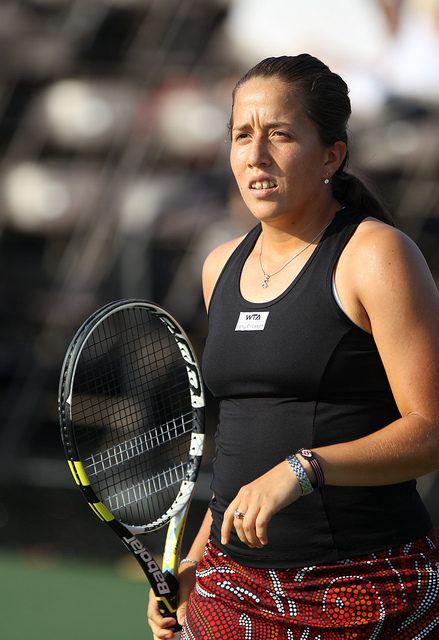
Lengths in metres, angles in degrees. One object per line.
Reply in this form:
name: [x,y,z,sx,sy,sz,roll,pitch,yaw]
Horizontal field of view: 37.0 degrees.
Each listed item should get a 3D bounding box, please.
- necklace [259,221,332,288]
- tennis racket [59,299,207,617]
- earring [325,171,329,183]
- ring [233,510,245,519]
necklace: [0.173,-0.143,1.454,0.194,0.063,0.028,-40,62,-4]
tennis racket: [-0.349,0.355,2.447,0.069,0.547,1.307,-14,63,3]
earring: [0.244,-0.322,1.493,0.002,0.026,0.016,16,35,33]
ring: [0.035,0.359,1.203,0.019,0.006,0.013,11,2,-11]
